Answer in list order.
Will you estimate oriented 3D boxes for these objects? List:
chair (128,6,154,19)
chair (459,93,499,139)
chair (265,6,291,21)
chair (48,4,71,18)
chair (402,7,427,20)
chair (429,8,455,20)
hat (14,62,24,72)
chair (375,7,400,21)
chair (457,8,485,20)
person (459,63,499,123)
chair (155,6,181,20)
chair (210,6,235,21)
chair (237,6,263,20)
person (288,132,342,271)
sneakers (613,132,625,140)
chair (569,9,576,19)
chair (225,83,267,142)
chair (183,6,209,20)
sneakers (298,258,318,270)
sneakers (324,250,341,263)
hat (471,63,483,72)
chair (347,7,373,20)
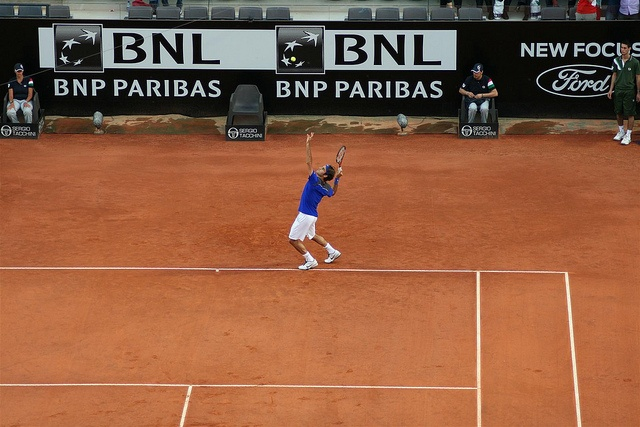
[{"bbox_3d":[-6.022,-6.696,24.269,0.809,0.426,0.871,-1,14,-14],"label":"chair"},{"bbox_3d":[4.936,-3.087,23.135,1.319,1.302,1.274,-1,8,0],"label":"chair"},{"bbox_3d":[-1.415,-6.734,24.486,0.830,0.440,1.022,1,14,-4],"label":"chair"},{"bbox_3d":[-9.059,-7.008,25.214,0.717,0.526,3.490,-3,14,-19],"label":"chair"},{"bbox_3d":[3.215,-6.752,24.662,0.843,0.492,1.998,4,14,7],"label":"chair"},{"bbox_3d":[4.079,-6.647,24.259,0.808,0.378,0.467,3,14,1],"label":"chair"},{"bbox_3d":[-9.396,-4.549,22.683,0.300,0.251,0.443,-2,9,-30],"label":"hat"},{"bbox_3d":[2.262,-6.763,24.739,0.797,0.468,2.022,3,14,3],"label":"chair"},{"bbox_3d":[4.937,-6.584,24.015,0.722,0.404,0.715,0,2,-1],"label":"chair"},{"bbox_3d":[4.879,-3.585,22.635,1.096,1.984,1.101,1,18,24],"label":"person"},{"bbox_3d":[-5.053,-6.601,24.039,0.770,0.348,0.350,0,14,-8],"label":"chair"},{"bbox_3d":[-3.280,-6.738,24.497,0.797,0.438,1.157,0,14,-8],"label":"chair"},{"bbox_3d":[-2.364,-6.732,24.516,0.816,0.487,1.747,1,14,-6],"label":"chair"},{"bbox_3d":[-0.029,-0.273,14.275,0.980,2.609,1.046,9,15,27],"label":"person"},{"bbox_3d":[9.068,-2.366,22.073,0.199,0.201,0.519,12,17,37],"label":"sneakers"},{"bbox_3d":[8.475,-6.761,24.541,0.247,0.386,0.452,7,14,18],"label":"chair"},{"bbox_3d":[-2.378,-3.215,23.306,1.333,1.490,1.882,1,19,0],"label":"chair"},{"bbox_3d":[-4.125,-6.605,24.032,0.762,0.364,0.261,1,14,-4],"label":"chair"},{"bbox_3d":[-0.227,1.001,14.162,0.409,0.197,0.151,-9,35,5],"label":"sneakers"},{"bbox_3d":[0.251,0.822,14.468,0.208,0.430,0.151,39,42,-13],"label":"sneakers"},{"bbox_3d":[4.873,-4.515,22.515,0.376,0.200,0.239,-4,11,-29],"label":"hat"},{"bbox_3d":[1.335,-6.835,24.778,0.926,0.647,0.710,0,13,2],"label":"chair"}]
